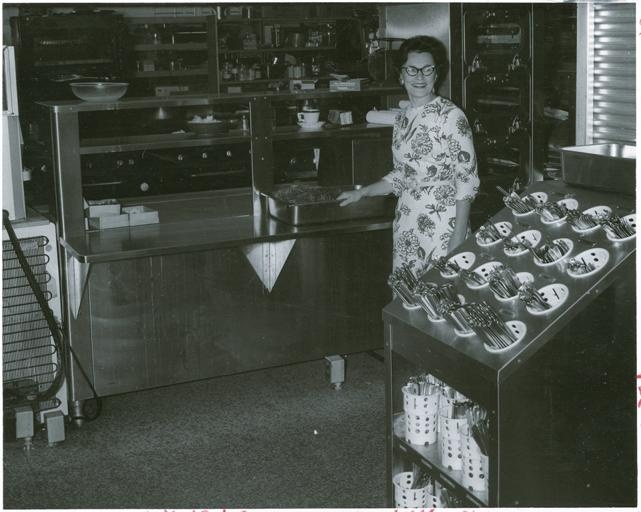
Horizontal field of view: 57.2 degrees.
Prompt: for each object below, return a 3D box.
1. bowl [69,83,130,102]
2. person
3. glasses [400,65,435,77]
[{"bbox_3d":[-1.218,-0.916,3.270,0.244,0.076,0.248,1,18,0],"label":"bowl"},{"bbox_3d":[0.530,-0.469,3.005,0.366,1.245,0.701,-6,13,-20],"label":"person"},{"bbox_3d":[0.469,-0.894,2.837,0.149,0.052,0.059,0,13,6],"label":"glasses"}]
